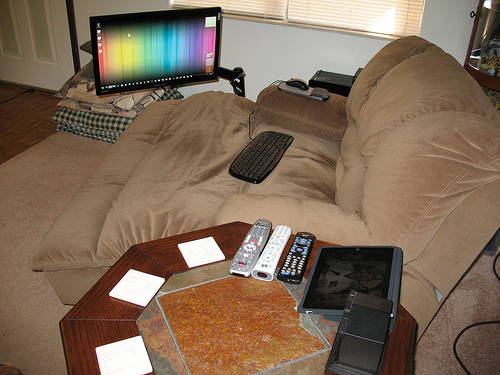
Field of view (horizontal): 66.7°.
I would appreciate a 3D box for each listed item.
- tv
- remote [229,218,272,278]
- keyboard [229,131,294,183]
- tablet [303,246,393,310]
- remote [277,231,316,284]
[{"bbox_3d":[-0.468,-0.688,1.898,0.743,0.473,0.112,-17,35,-32],"label":"tv"},{"bbox_3d":[0.011,0.181,1.234,0.072,0.036,0.253,6,36,22],"label":"remote"},{"bbox_3d":[0.063,-0.165,1.873,0.188,0.041,0.341,15,40,25],"label":"keyboard"},{"bbox_3d":[0.284,0.265,1.104,0.190,0.047,0.198,-7,38,27],"label":"tablet"},{"bbox_3d":[0.151,0.217,1.209,0.072,0.029,0.234,9,34,18],"label":"remote"}]
